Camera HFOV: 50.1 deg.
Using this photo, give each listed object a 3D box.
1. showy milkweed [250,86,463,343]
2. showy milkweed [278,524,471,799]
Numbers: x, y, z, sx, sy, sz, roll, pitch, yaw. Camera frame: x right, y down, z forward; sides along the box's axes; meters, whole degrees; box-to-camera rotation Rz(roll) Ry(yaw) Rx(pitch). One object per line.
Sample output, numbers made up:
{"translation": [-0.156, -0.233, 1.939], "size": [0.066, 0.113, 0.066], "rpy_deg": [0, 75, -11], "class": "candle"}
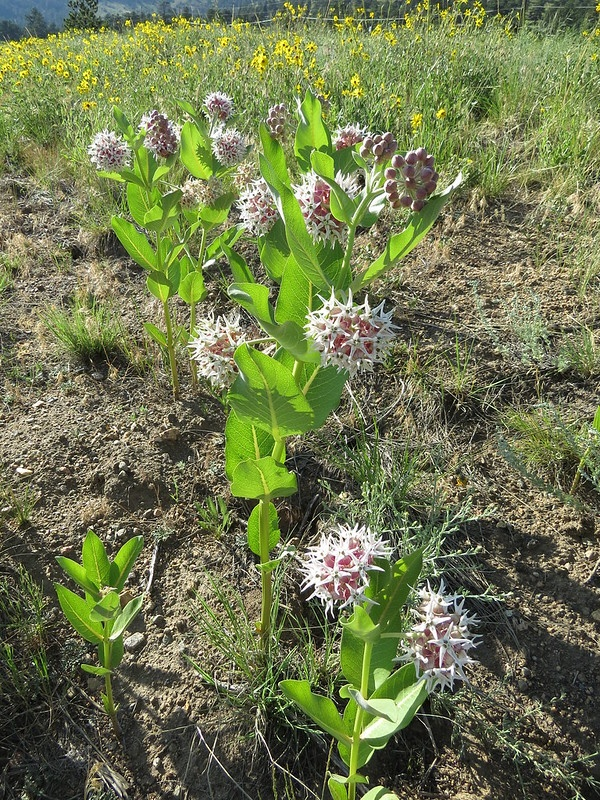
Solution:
{"translation": [0.198, -0.627, 2.118], "size": [0.682, 0.734, 0.765], "rpy_deg": [-9, 25, -21], "class": "showy milkweed"}
{"translation": [0.238, 0.865, 1.995], "size": [0.494, 1.081, 0.610], "rpy_deg": [14, 38, 19], "class": "showy milkweed"}
